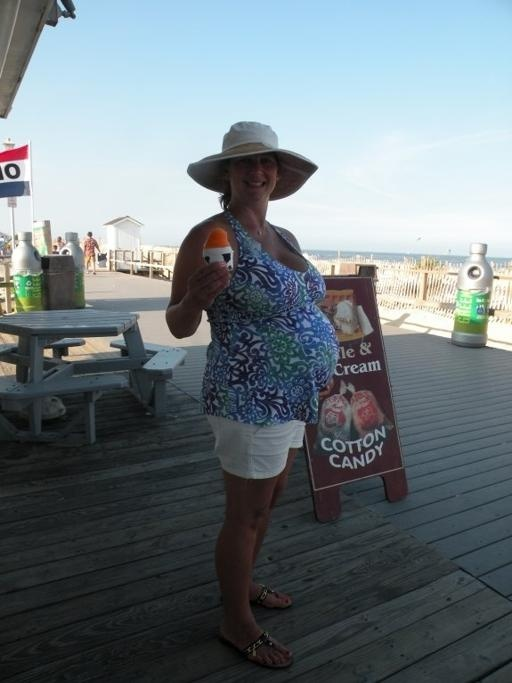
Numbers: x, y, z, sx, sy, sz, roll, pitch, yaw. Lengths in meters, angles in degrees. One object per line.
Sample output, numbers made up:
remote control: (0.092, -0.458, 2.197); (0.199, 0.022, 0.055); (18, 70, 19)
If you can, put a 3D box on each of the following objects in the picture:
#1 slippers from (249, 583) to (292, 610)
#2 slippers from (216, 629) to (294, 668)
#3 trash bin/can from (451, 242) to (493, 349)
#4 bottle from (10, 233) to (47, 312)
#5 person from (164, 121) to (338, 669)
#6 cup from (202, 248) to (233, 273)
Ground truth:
slippers: (0.054, 1.015, 1.989); (0.212, 0.070, 0.070); (1, 19, 10)
slippers: (0.029, 1.040, 1.713); (0.188, 0.042, 0.086); (-3, -4, 35)
trash bin/can: (3.347, -0.701, 7.867); (0.509, 1.609, 0.462); (9, 13, 33)
bottle: (-3.195, -0.963, 7.113); (0.379, 1.106, 0.344); (-2, 11, -21)
person: (-0.009, 0.201, 1.678); (0.506, 1.776, 0.752); (4, 11, 11)
cup: (-0.095, -0.205, 1.288); (0.073, 0.062, 0.051); (-7, 20, 0)
